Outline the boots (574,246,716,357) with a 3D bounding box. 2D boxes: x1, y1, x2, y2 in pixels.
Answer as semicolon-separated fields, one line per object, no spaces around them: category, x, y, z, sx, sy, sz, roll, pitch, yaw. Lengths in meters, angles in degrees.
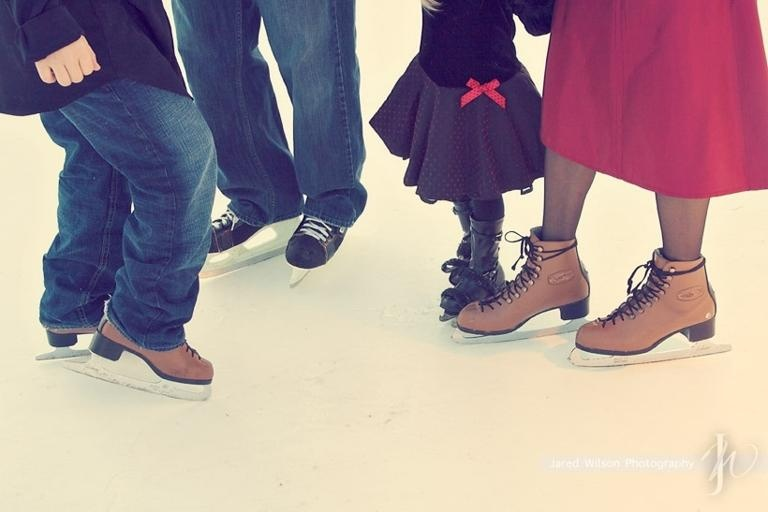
boots;0.669;0.114;2.101;0.516;0.344;0.206;-4;17;7
